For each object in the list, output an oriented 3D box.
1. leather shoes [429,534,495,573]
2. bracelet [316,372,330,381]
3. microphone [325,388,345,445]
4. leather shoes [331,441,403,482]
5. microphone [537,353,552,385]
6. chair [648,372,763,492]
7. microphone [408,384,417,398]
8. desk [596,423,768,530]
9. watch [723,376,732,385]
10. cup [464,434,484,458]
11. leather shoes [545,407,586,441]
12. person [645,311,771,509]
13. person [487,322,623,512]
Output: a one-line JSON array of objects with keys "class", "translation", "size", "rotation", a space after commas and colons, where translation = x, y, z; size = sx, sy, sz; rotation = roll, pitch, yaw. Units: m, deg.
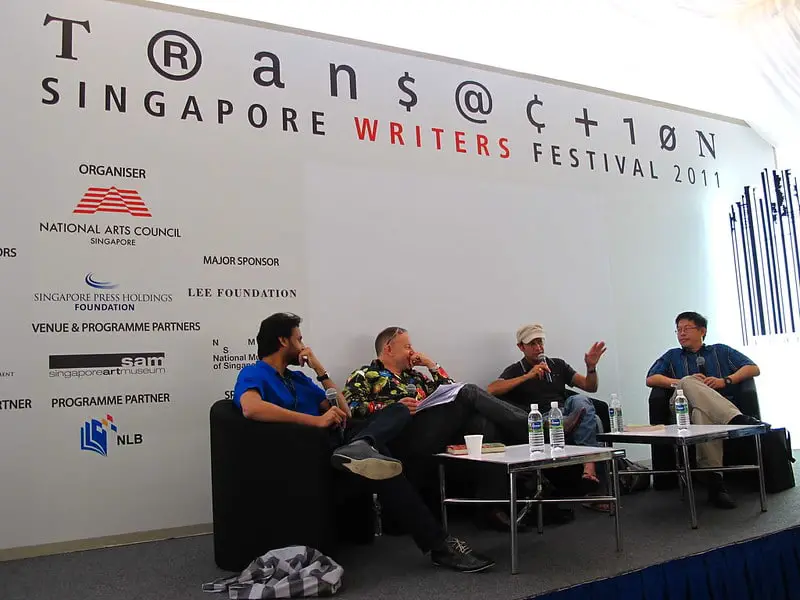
[{"class": "leather shoes", "translation": [0.331, 1.366, 3.426], "size": [0.358, 0.164, 0.145], "rotation": [-4, -7, 32]}, {"class": "bracelet", "translation": [-0.527, 0.527, 4.281], "size": [0.075, 0.054, 0.083], "rotation": [-4, -5, 5]}, {"class": "microphone", "translation": [-0.399, 0.724, 3.822], "size": [0.069, 0.069, 0.324], "rotation": [-34, 29, 5]}, {"class": "leather shoes", "translation": [-0.196, 0.896, 3.448], "size": [0.230, 0.099, 0.178], "rotation": [13, 14, 5]}, {"class": "microphone", "translation": [1.207, 0.553, 5.173], "size": [0.068, 0.316, 0.083], "rotation": [-4, -46, 1]}, {"class": "chair", "translation": [2.283, 1.053, 4.988], "size": [0.830, 1.120, 0.754], "rotation": [13, -15, -34]}, {"class": "microphone", "translation": [0.099, 0.703, 4.712], "size": [0.061, 0.063, 0.057], "rotation": [3, -3, -31]}, {"class": "desk", "translation": [1.926, 0.968, 4.209], "size": [0.789, 0.527, 0.773], "rotation": [-1, -2, -42]}, {"class": "watch", "translation": [2.690, 0.654, 5.122], "size": [0.047, 0.026, 0.069], "rotation": [-1, 35, 8]}, {"class": "cup", "translation": [0.426, 0.835, 3.556], "size": [0.107, 0.108, 0.107], "rotation": [-2, -7, 0]}, {"class": "leather shoes", "translation": [1.114, 0.840, 4.180], "size": [0.196, 0.316, 0.106], "rotation": [20, -10, 16]}, {"class": "person", "translation": [2.404, 0.886, 4.966], "size": [0.805, 1.678, 0.995], "rotation": [2, -46, 17]}, {"class": "person", "translation": [1.279, 0.842, 5.231], "size": [0.911, 1.565, 1.270], "rotation": [1, -15, -17]}]
